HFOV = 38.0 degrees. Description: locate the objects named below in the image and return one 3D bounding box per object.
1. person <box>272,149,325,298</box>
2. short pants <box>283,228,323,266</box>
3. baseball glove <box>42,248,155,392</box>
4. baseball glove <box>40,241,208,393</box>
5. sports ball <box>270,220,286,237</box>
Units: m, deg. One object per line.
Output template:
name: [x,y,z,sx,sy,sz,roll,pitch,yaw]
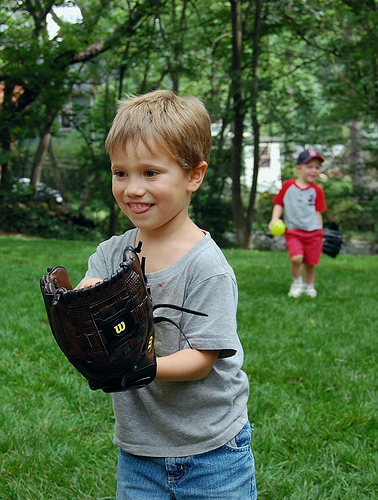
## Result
person: [0.917,-0.220,4.553,0.435,1.168,1.020,-1,13,7]
short pants: [0.979,-0.059,4.728,0.343,0.367,0.226,-1,9,-5]
baseball glove: [-0.195,0.190,1.241,0.237,0.375,0.211,-5,14,-9]
baseball glove: [-0.186,0.129,1.277,0.272,0.197,0.329,0,29,-5]
sports ball: [0.797,-0.195,4.903,0.131,0.138,0.127,5,14,-1]
